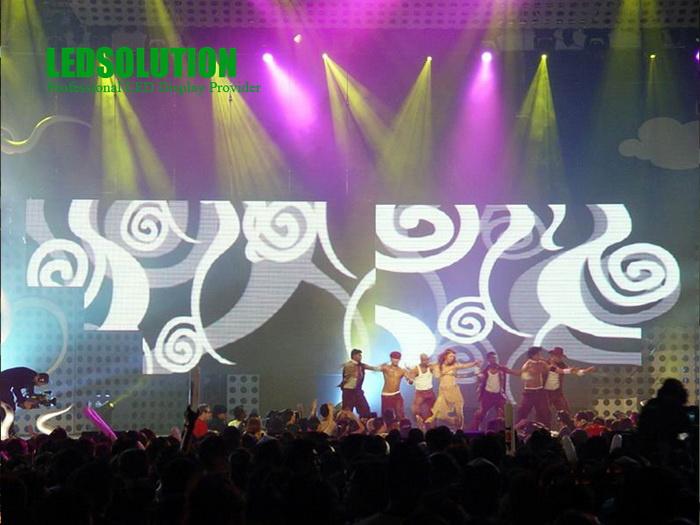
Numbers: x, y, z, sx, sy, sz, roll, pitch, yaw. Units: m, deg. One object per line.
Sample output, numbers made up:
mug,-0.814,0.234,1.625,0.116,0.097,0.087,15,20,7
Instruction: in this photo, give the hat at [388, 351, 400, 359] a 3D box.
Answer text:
hat,0.791,1.646,17.213,0.122,0.109,0.141,-2,-15,28
